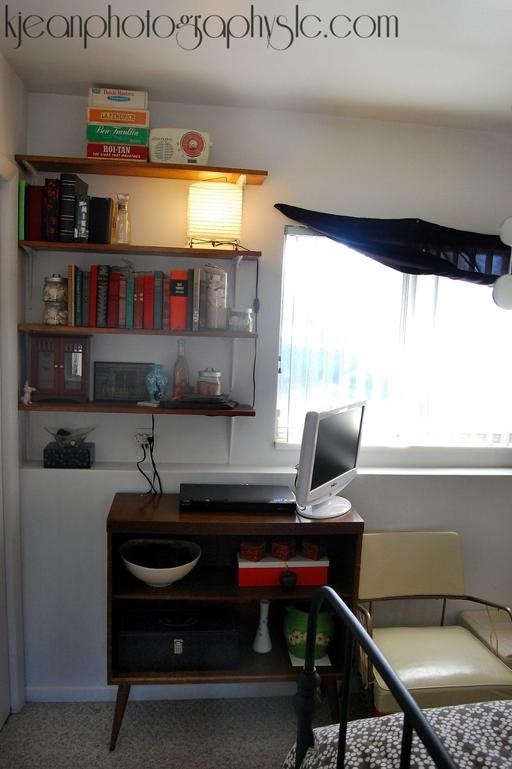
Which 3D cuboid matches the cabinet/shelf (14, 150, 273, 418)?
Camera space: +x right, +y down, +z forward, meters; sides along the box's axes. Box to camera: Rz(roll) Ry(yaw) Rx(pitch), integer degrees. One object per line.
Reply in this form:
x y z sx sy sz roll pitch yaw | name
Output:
-0.501 -0.442 2.550 1.124 1.038 0.375 0 4 -9 | cabinet/shelf

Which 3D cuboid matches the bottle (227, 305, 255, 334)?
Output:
-0.060 -0.270 2.586 0.107 0.094 0.103 -1 2 -35 | bottle

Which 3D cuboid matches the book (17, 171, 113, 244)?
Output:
-0.741 -0.682 2.427 0.343 0.259 0.099 -1 6 -18 | book

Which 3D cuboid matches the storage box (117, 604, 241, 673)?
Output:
-0.313 0.992 2.484 0.304 0.129 0.214 1 -3 -6 | storage box

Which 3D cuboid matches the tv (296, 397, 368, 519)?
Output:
0.305 0.312 2.506 0.217 0.470 0.487 4 8 31 | tv

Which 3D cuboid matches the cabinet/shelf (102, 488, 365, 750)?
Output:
-0.100 0.880 2.377 1.025 0.983 0.423 0 1 -7 | cabinet/shelf

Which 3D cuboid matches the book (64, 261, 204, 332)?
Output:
-0.472 -0.344 2.497 0.539 0.248 0.101 1 6 -3 | book

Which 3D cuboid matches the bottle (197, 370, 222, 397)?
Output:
-0.195 -0.003 2.680 0.100 0.163 0.108 1 7 0 | bottle

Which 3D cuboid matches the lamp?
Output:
-0.159 -0.664 2.532 0.284 0.300 0.250 0 8 -6 | lamp

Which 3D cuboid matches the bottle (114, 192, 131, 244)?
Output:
-0.535 -0.655 2.481 0.060 0.204 0.090 0 6 -13 | bottle
